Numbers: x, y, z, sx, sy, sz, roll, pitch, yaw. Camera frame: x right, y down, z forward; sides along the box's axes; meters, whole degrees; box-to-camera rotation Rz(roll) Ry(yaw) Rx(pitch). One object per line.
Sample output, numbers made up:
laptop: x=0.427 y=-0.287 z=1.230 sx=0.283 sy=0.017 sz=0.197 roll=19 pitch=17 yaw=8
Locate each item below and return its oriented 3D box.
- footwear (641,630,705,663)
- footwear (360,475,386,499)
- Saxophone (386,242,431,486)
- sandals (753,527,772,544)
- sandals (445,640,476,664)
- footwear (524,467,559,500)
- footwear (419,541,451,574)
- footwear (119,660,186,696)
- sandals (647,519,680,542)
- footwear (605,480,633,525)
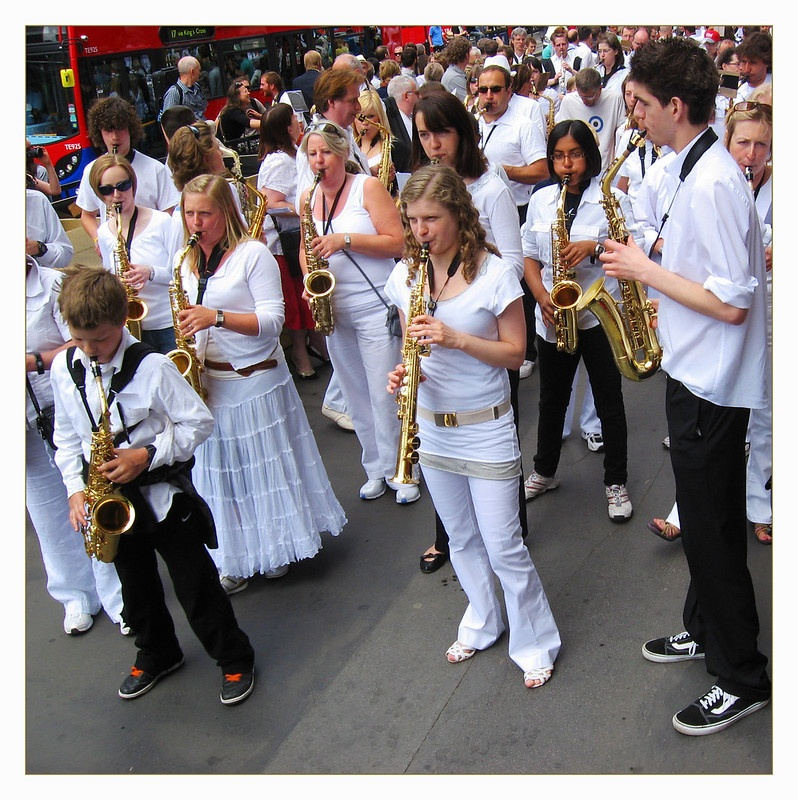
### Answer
footwear: x=1.203 y=1.104 z=3.334 sx=0.313 sy=0.137 sz=0.108 roll=2 pitch=21 yaw=7
footwear: x=-0.174 y=0.588 z=4.891 sx=0.088 sy=0.089 sz=0.208 roll=-1 pitch=4 yaw=16
Saxophone: x=-0.019 y=-0.135 z=3.041 sx=0.178 sy=0.854 sz=0.223 roll=3 pitch=24 yaw=-3
sandals: x=1.927 y=0.708 z=3.924 sx=0.057 sy=0.034 sz=0.094 roll=-41 pitch=40 yaw=36
sandals: x=0.281 y=1.164 z=3.436 sx=0.132 sy=0.045 sz=0.075 roll=-7 pitch=21 yaw=-24
footwear: x=0.866 y=0.526 z=4.671 sx=0.319 sy=0.150 sz=0.115 roll=-12 pitch=24 yaw=-15
footwear: x=0.200 y=0.880 z=4.140 sx=0.079 sy=0.082 sz=0.231 roll=-12 pitch=9 yaw=28
footwear: x=-1.163 y=1.320 z=3.551 sx=0.100 sy=0.124 sz=0.310 roll=14 pitch=24 yaw=37
sandals: x=1.423 y=0.689 z=3.979 sx=0.085 sy=0.057 sz=0.184 roll=-40 pitch=44 yaw=-7
footwear: x=1.286 y=0.592 z=4.304 sx=0.101 sy=0.107 sz=0.246 roll=-7 pitch=36 yaw=15
